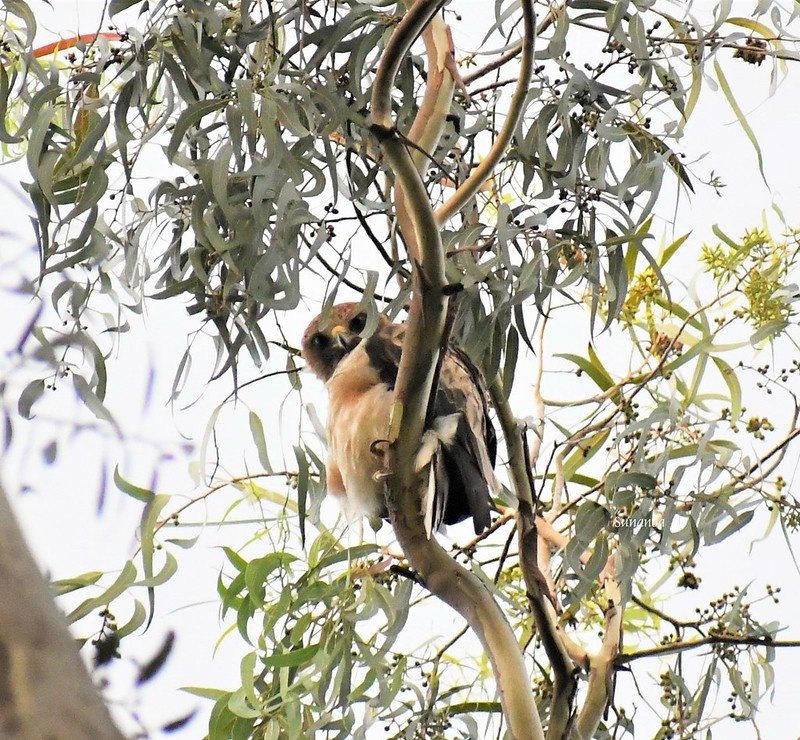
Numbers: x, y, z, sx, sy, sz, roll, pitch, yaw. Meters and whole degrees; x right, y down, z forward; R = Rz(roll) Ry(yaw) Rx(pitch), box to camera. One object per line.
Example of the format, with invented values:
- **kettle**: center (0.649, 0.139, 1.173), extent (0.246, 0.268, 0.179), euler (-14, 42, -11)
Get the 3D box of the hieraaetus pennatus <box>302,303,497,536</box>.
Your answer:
- **hieraaetus pennatus**: center (0.010, 0.061, 2.276), extent (0.146, 0.214, 0.150), euler (17, -45, 0)
